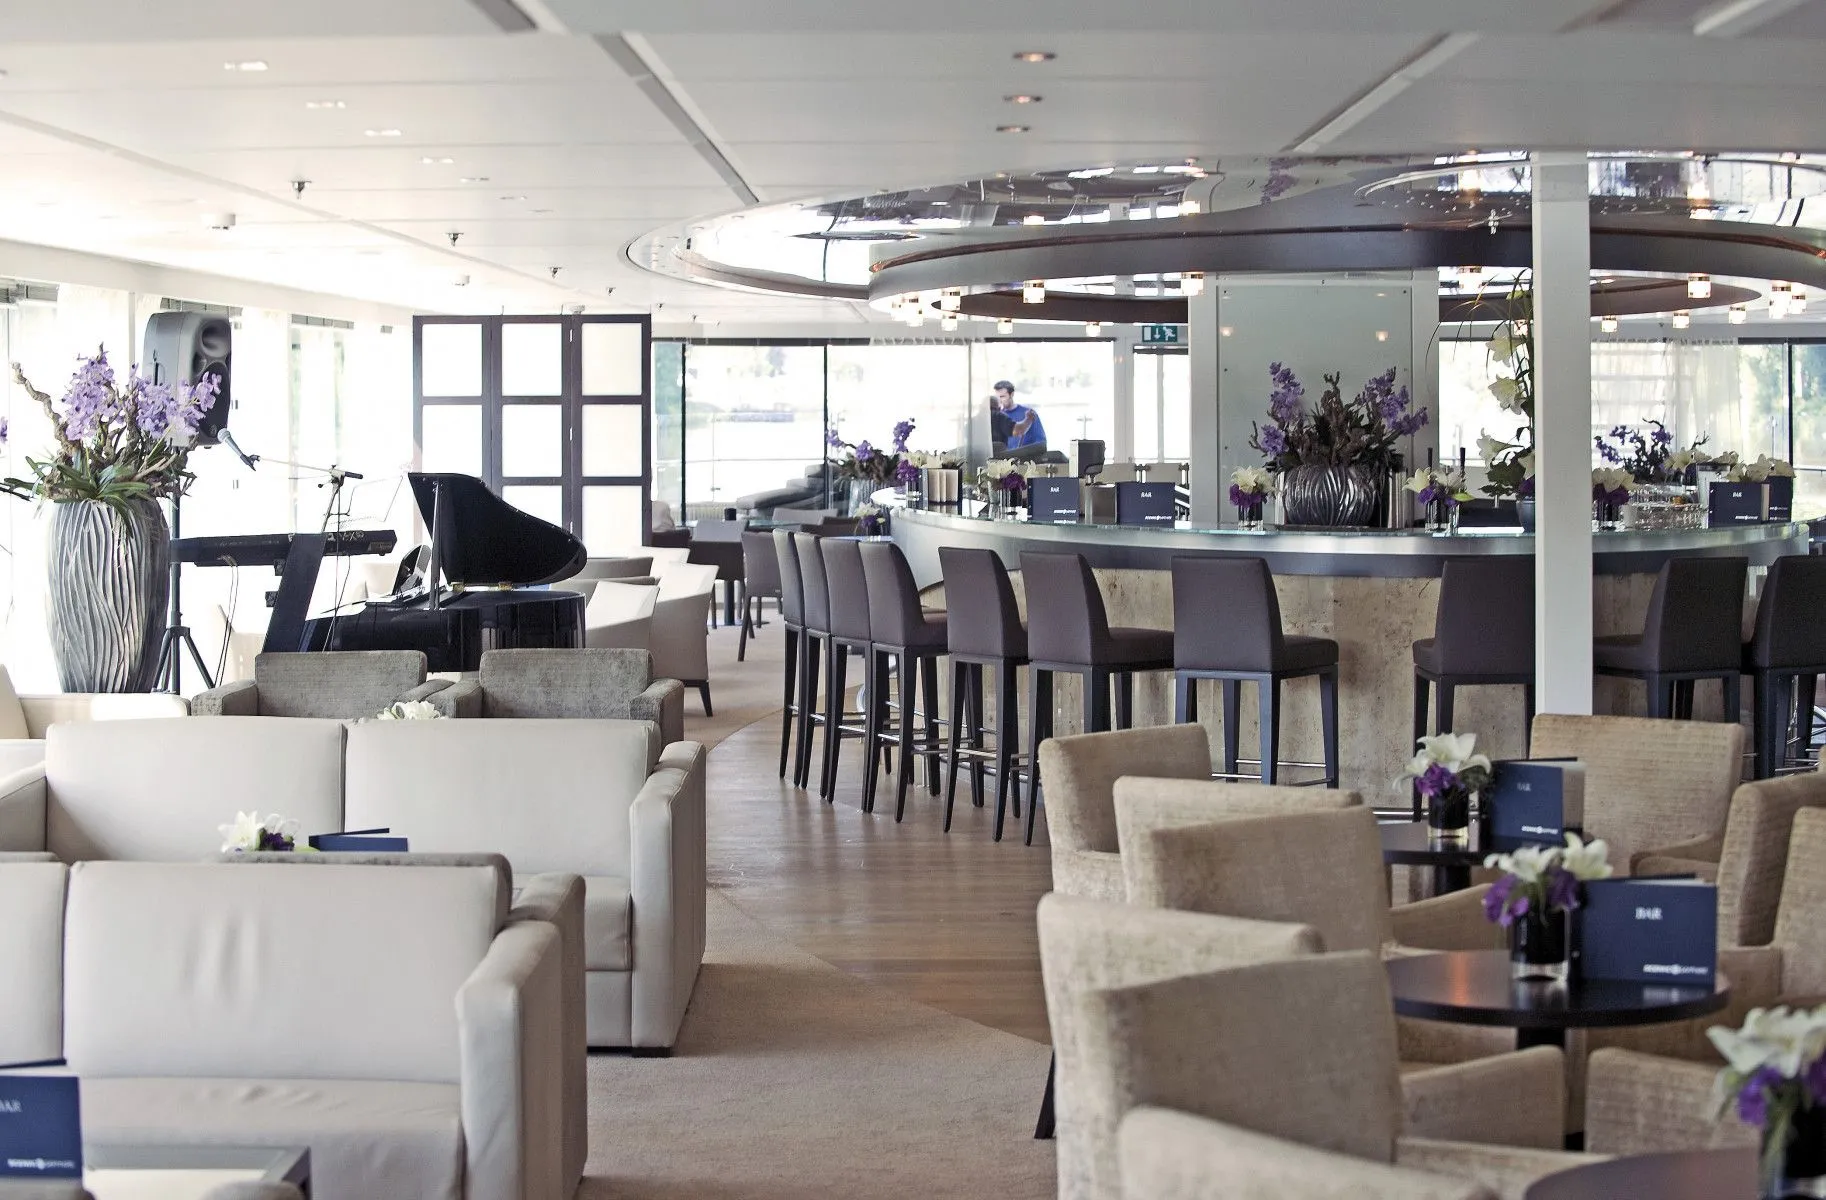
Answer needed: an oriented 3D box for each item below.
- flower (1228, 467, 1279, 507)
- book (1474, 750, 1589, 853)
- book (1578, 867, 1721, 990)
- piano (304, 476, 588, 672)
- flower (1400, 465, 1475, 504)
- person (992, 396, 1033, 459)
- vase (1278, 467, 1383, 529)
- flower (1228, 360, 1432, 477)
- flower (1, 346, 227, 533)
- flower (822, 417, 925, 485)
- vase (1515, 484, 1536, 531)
[{"bbox_3d":[2.003,-0.656,9.706,0.223,0.242,0.249,-4,10,-36],"label":"flower"},{"bbox_3d":[1.956,0.642,5.230,0.267,0.228,0.142,1,2,19],"label":"book"},{"bbox_3d":[1.911,0.869,4.243,0.380,0.337,0.271,0,-2,-9],"label":"book"},{"bbox_3d":[-2.541,-0.155,9.734,1.664,1.030,1.105,-4,-2,24],"label":"piano"},{"bbox_3d":[2.922,-0.661,9.098,0.358,0.158,0.335,-4,-9,38],"label":"flower"},{"bbox_3d":[1.237,-2.140,20.213,0.561,0.649,0.917,-3,8,4],"label":"person"},{"bbox_3d":[2.309,-0.515,9.066,0.416,0.266,0.402,-1,-3,23],"label":"vase"},{"bbox_3d":[2.378,-1.010,9.368,0.761,0.482,0.853,2,-11,-18],"label":"flower"},{"bbox_3d":[-3.906,-0.755,7.951,1.045,0.682,1.043,-1,-1,-27],"label":"flower"},{"bbox_3d":[-0.332,-1.649,18.087,1.206,0.777,1.158,1,-7,-17],"label":"flower"},{"bbox_3d":[3.244,-0.477,8.654,0.104,0.214,0.239,1,-3,5],"label":"vase"}]
